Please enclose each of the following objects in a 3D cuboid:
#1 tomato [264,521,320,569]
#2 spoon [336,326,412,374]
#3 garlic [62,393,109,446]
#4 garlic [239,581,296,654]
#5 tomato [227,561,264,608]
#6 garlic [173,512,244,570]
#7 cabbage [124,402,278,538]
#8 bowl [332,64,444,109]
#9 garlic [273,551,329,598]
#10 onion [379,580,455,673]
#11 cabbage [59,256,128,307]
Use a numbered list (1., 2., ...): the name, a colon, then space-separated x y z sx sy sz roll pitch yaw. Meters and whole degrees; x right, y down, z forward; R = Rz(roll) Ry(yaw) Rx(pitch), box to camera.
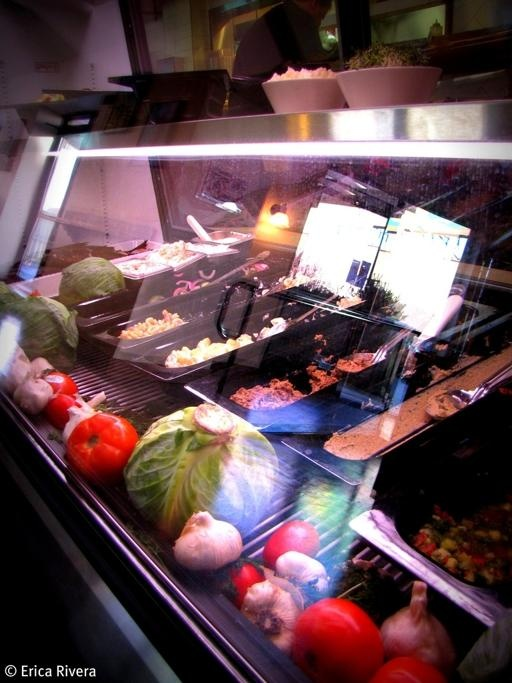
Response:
1. tomato: 0.057 0.324 0.794 0.084 0.060 0.063 -36 31 -19
2. spoon: 0.253 0.018 1.103 0.087 0.121 0.171 -8 20 -30
3. garlic: -0.418 0.169 1.193 0.088 0.114 0.131 15 22 39
4. garlic: 0.026 0.393 0.711 0.092 0.047 0.057 16 22 40
5. tomato: -0.020 0.374 0.761 0.047 0.049 0.042 18 -24 -1
6. garlic: -0.079 0.323 0.782 0.104 0.091 0.040 2 18 1
7. cabbage: -0.098 0.201 0.917 0.256 0.219 0.249 3 5 -6
8. bowl: 0.192 -0.374 0.717 0.146 0.048 0.071 4 17 8
9. garlic: 0.071 0.355 0.749 0.088 0.034 0.042 8 18 19
10. onion: 0.198 0.368 0.686 0.113 0.135 0.106 9 -6 11
11. cabbage: -0.630 -0.253 1.904 0.202 0.198 0.229 16 25 35
